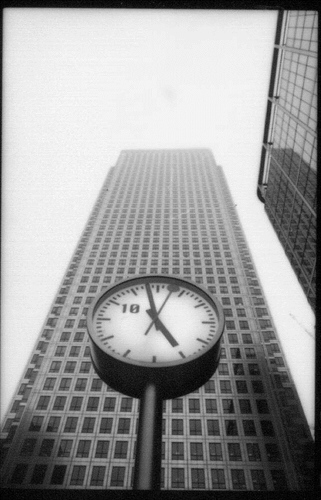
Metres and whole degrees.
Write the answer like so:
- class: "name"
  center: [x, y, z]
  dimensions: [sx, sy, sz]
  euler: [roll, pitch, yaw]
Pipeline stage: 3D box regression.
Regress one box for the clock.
- class: "clock"
  center: [-0.062, 0.893, 4.833]
  dimensions: [1.637, 1.800, 0.334]
  euler: [-7, -61, -16]
